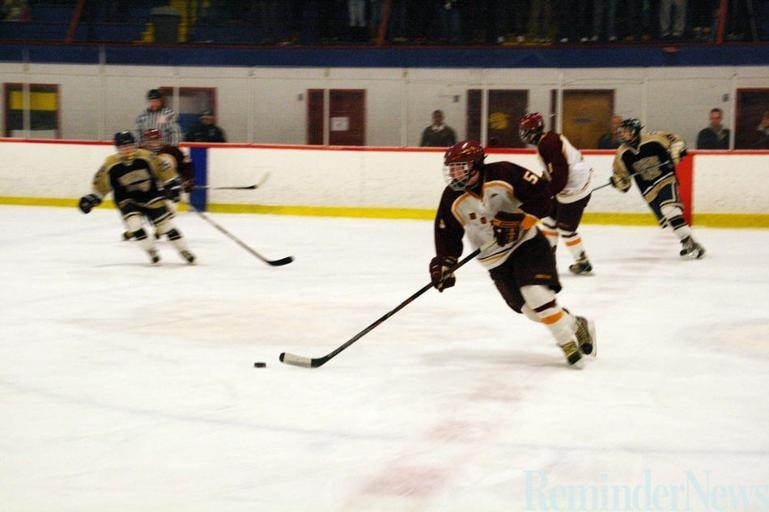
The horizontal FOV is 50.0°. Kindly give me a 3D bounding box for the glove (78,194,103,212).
[{"bbox_3d":[-2.568,-0.463,7.256,0.236,0.048,0.186,-2,45,12],"label":"glove"}]

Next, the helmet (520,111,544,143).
[{"bbox_3d":[1.141,-0.980,6.369,0.172,0.239,0.244,2,10,9],"label":"helmet"}]

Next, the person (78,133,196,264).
[{"bbox_3d":[-2.065,-0.496,7.203,0.747,1.128,0.321,-2,12,-12],"label":"person"}]

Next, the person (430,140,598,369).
[{"bbox_3d":[0.737,-0.005,4.616,0.911,1.255,0.330,3,12,11],"label":"person"}]

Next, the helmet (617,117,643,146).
[{"bbox_3d":[2.166,-1.112,7.413,0.292,0.242,0.211,-7,6,-2],"label":"helmet"}]

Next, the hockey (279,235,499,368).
[{"bbox_3d":[0.035,0.334,5.698,1.564,0.187,0.139,-28,-34,20],"label":"hockey"}]

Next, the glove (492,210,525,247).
[{"bbox_3d":[0.657,-0.146,4.395,0.171,0.179,0.092,15,4,9],"label":"glove"}]
